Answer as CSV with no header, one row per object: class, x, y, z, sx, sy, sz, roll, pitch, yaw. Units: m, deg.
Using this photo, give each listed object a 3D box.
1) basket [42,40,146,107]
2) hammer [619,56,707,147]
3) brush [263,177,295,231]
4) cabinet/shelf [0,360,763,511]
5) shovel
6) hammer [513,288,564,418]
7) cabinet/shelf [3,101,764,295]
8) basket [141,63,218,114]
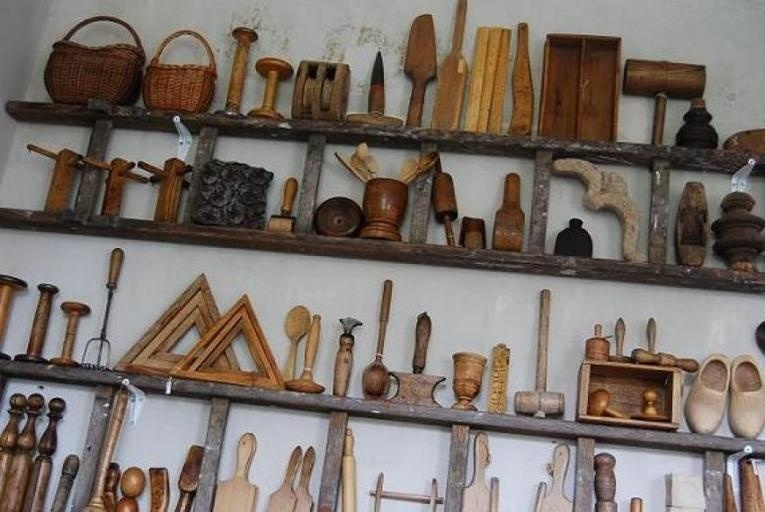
basket,-1.882,-1.178,5.649,0.575,0.482,0.393,2,-18,2
hammer,1.804,-0.968,5.606,0.396,0.612,0.188,10,-19,7
brush,-0.634,-0.302,5.422,0.134,0.402,0.098,-5,-34,19
cabinet/shelf,0.056,1.205,5.112,4.327,0.733,0.316,4,-11,5
shovel,0.249,-1.227,5.871,0.214,0.079,0.970,1,-39,-1
hammer,0.937,0.558,5.118,0.284,0.861,0.203,4,27,12
cabinet/shelf,0.187,-0.387,5.481,4.347,0.871,0.227,5,-11,3
basket,-1.320,-1.087,5.631,0.453,0.379,0.287,3,-1,5
